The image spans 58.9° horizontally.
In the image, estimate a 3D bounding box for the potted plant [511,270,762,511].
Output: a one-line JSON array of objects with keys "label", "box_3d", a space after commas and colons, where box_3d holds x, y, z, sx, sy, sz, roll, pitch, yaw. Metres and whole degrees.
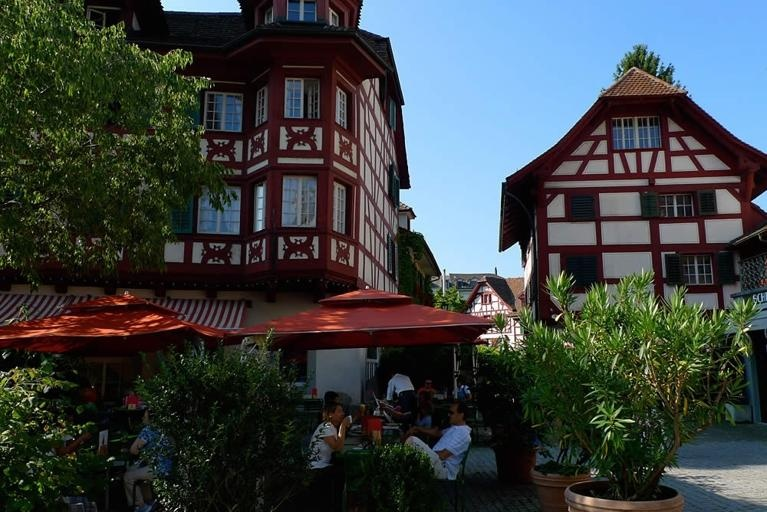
[{"label": "potted plant", "box_3d": [3.253, 1.627, 8.849, 2.492, 3.156, 2.732, -4, -12, 23]}]
